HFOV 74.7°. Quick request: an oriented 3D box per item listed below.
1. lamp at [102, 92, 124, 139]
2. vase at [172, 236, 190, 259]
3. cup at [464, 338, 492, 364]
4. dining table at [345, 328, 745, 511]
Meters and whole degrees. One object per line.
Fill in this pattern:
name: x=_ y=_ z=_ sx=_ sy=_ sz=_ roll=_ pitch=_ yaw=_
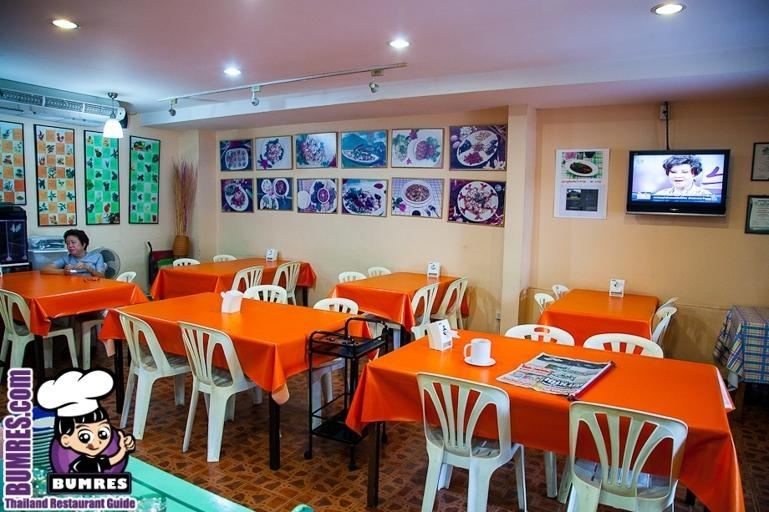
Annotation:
lamp: x=-3.544 y=-1.830 z=6.581 sx=0.196 sy=0.600 sz=0.962 roll=-4 pitch=8 yaw=-27
vase: x=-3.331 y=-0.143 z=8.233 sx=0.297 sy=0.354 sz=0.370 roll=1 pitch=3 yaw=-29
cup: x=0.654 y=0.654 z=3.482 sx=0.213 sy=0.144 sz=0.130 roll=-4 pitch=8 yaw=-27
dining table: x=1.016 y=0.969 z=3.373 sx=2.223 sy=0.583 sz=1.207 roll=4 pitch=8 yaw=26
